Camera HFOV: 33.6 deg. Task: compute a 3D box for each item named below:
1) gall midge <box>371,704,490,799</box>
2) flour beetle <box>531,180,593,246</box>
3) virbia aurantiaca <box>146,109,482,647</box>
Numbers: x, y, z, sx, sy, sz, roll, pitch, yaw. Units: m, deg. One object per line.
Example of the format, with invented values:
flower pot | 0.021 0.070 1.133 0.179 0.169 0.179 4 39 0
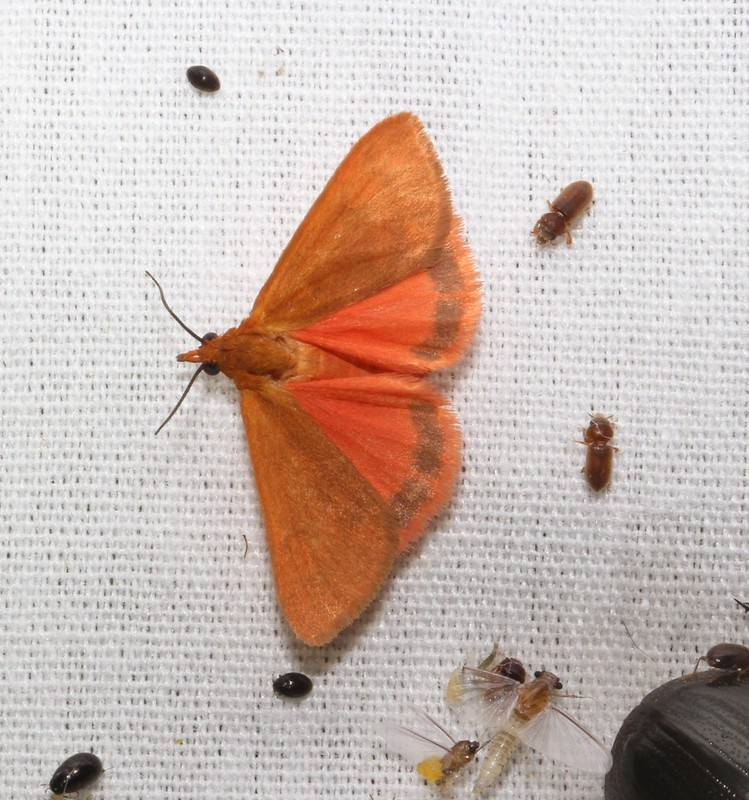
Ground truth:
gall midge | 0.139 0.848 2.980 0.177 0.091 0.248 34 89 -11
flour beetle | 0.487 -0.475 3.136 0.101 0.088 0.195 38 73 13
virbia aurantiaca | -0.175 -0.082 3.066 0.796 0.298 1.504 -2 55 18
